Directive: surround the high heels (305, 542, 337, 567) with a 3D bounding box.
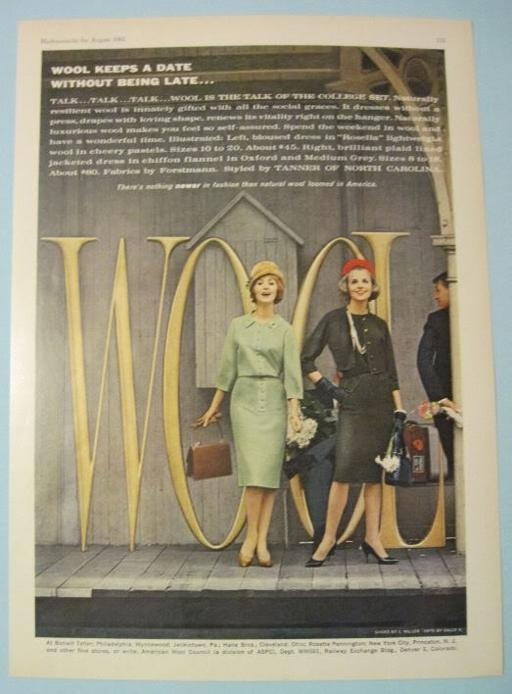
[{"bbox_3d":[0.252,0.838,4.133,0.051,0.144,0.063,15,-11,26],"label":"high heels"}]

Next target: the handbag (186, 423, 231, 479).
[{"bbox_3d":[-0.195,0.424,4.187,0.226,0.227,0.085,-1,9,-14],"label":"handbag"}]

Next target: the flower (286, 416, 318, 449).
[{"bbox_3d":[0.185,0.349,4.185,0.119,0.114,0.034,8,11,-12],"label":"flower"}]

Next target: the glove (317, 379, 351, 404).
[{"bbox_3d":[0.308,0.180,4.204,0.129,0.071,0.054,34,0,1],"label":"glove"}]
